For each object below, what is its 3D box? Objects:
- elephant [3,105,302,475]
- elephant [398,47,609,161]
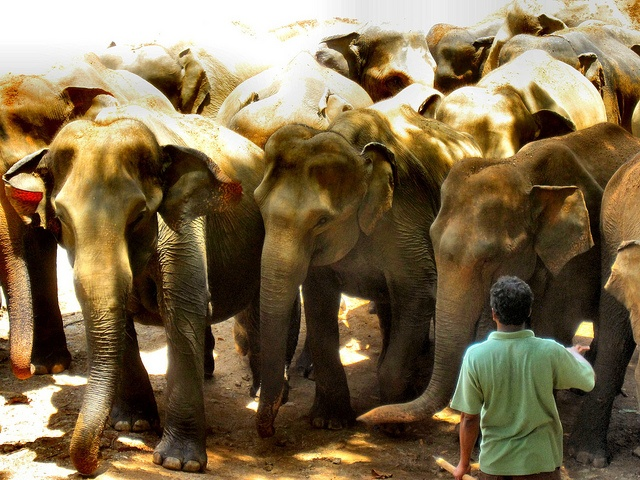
[{"bbox_3d":[-0.778,0.205,3.917,0.802,1.611,1.373,9,11,20],"label":"elephant"},{"bbox_3d":[1.321,-1.067,5.653,0.737,0.751,1.316,-1,14,39],"label":"elephant"}]
